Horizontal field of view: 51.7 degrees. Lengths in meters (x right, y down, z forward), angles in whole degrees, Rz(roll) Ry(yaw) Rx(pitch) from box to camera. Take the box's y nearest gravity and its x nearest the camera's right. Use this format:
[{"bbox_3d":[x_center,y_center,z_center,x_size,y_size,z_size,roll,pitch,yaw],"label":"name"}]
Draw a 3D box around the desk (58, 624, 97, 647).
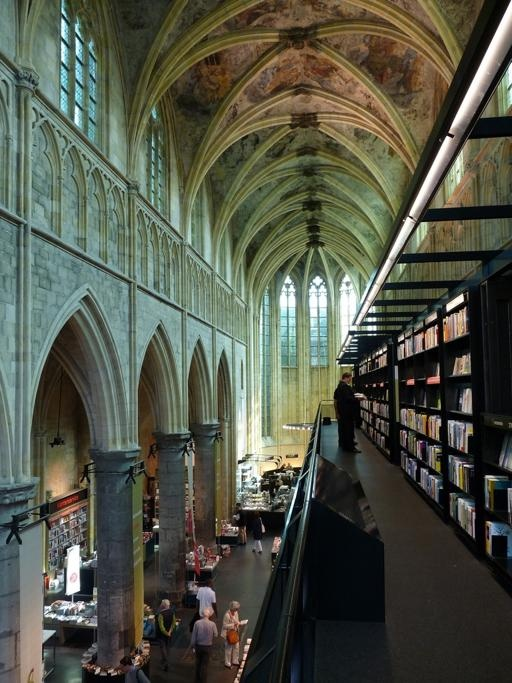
[{"bbox_3d":[-3.862,6.260,11.424,0.818,0.339,0.668,6,-4,-21],"label":"desk"}]
